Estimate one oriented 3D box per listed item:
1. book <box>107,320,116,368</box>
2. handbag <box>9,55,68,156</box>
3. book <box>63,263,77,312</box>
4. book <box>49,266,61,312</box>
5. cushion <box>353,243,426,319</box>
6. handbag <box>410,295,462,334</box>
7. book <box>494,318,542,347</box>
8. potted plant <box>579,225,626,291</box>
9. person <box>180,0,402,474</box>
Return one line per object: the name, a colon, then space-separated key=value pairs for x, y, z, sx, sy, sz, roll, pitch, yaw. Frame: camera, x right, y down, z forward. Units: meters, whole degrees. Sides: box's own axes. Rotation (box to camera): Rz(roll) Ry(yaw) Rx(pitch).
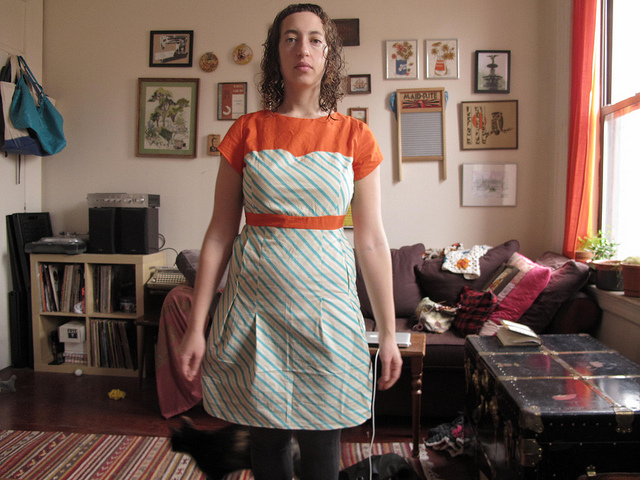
book: x=-1.671 y=0.836 z=4.104 sx=0.050 sy=0.374 sz=0.020 roll=3 pitch=8 yaw=41
handbag: x=-2.280 y=-1.089 z=4.105 sx=0.357 sy=0.791 sz=0.285 roll=-5 pitch=7 yaw=-23
book: x=-2.050 y=0.392 z=4.176 sx=0.116 sy=0.376 sz=0.034 roll=-4 pitch=6 yaw=-19
book: x=-2.154 y=0.398 z=4.197 sx=0.090 sy=0.359 sz=0.049 roll=-7 pitch=8 yaw=-39
cushion: x=0.406 y=0.259 z=2.933 sx=0.469 sy=0.257 sz=0.441 roll=-6 pitch=47 yaw=3
handbag: x=0.767 y=0.524 z=3.552 sx=0.241 sy=0.099 sz=0.233 roll=8 pitch=48 yaw=40
book: x=1.122 y=0.518 z=2.968 sx=0.131 sy=0.064 sz=0.177 roll=2 pitch=9 yaw=2
potted plant: x=1.871 y=0.124 z=3.352 sx=0.252 sy=0.373 sz=0.210 roll=-10 pitch=-3 yaw=13
person: x=-0.115 y=-0.016 z=2.050 sx=0.839 sy=1.814 sz=0.397 roll=-1 pitch=6 yaw=7
